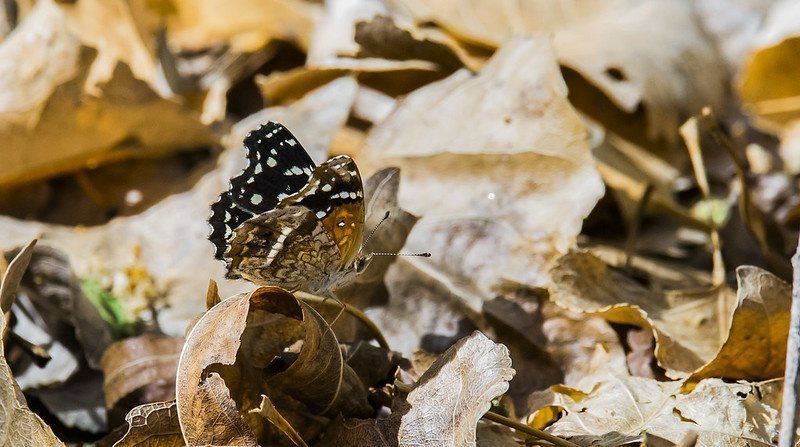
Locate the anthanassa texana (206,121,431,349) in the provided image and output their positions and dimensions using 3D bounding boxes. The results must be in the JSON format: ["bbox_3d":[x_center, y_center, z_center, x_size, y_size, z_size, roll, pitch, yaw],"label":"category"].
[{"bbox_3d":[-0.186,0.039,2.708,0.386,0.382,0.271,5,76,3],"label":"anthanassa texana"}]
